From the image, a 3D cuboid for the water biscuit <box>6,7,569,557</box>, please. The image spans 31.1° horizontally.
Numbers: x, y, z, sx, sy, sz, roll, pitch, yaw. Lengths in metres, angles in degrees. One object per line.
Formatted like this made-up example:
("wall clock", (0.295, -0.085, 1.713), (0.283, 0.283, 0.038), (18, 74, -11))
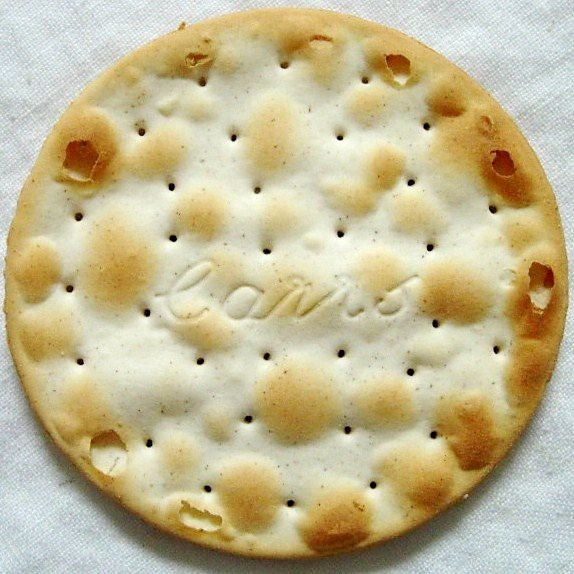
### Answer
("water biscuit", (-0.017, -0.034, 2.242), (1.102, 0.742, 1.049), (-2, -65, -4))
